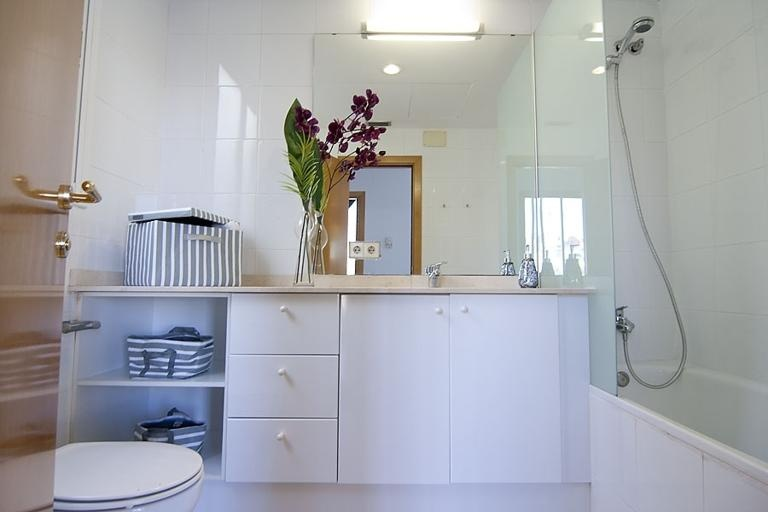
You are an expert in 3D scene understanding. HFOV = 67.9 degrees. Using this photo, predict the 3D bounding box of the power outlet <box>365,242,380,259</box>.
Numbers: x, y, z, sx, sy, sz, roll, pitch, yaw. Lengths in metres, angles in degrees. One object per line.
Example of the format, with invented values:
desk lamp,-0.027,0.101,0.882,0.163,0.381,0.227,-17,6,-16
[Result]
power outlet,-0.055,-0.029,3.149,0.077,0.084,0.082,0,-6,1

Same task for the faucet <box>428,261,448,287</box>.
faucet,0.294,0.096,3.125,0.085,0.134,0.184,0,-1,18

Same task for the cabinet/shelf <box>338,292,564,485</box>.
cabinet/shelf,0.337,0.593,2.867,1.039,0.950,0.405,0,7,4

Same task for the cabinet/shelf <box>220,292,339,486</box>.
cabinet/shelf,-0.347,0.640,2.866,0.649,1.137,0.722,1,-9,-3

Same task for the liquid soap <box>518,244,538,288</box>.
liquid soap,0.767,0.058,3.022,0.131,0.234,0.138,-6,2,-5

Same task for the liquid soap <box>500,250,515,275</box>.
liquid soap,0.706,0.041,3.208,0.084,0.140,0.032,1,-1,-19

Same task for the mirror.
mirror,0.229,-0.527,3.213,1.263,1.577,0.072,0,-2,-3

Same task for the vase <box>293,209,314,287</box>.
vase,-0.417,-0.035,3.008,0.083,0.373,0.248,0,-1,-7

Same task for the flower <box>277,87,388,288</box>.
flower,-0.248,-0.402,3.091,0.544,1.103,0.372,0,-1,-7

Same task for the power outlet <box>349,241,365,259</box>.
power outlet,-0.137,-0.028,3.199,0.126,0.117,0.077,1,-3,-3

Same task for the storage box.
storage box,-1.036,-0.022,3.007,0.359,0.405,0.502,1,-1,41
